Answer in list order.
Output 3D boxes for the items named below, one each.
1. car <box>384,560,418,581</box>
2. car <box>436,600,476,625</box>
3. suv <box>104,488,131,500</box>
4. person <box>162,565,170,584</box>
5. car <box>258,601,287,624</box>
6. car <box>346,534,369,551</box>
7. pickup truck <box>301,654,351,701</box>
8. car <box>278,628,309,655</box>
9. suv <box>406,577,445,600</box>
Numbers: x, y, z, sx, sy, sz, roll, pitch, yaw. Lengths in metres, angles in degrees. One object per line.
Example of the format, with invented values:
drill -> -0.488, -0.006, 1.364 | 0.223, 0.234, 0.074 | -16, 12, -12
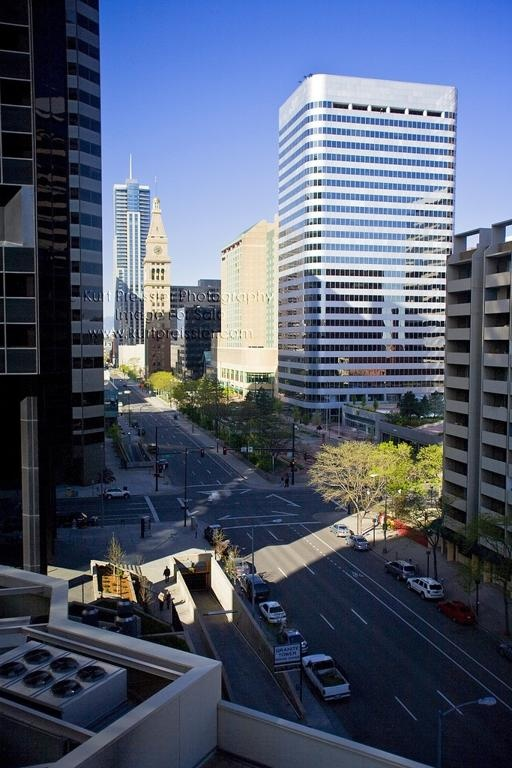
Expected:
car -> 10.259, 12.994, 51.661 | 0.907, 0.893, 1.944 | 2, 5, -18
car -> 11.905, 13.332, 43.373 | 1.059, 1.205, 2.101 | 8, 0, -25
suv -> -14.548, 11.339, 77.296 | 1.973, 1.090, 1.180 | -7, 4, -1
person -> -6.130, 12.928, 50.340 | 0.661, 1.680, 0.501 | 0, 20, -1
car -> 1.077, 13.304, 43.227 | 1.239, 1.132, 1.973 | 8, -1, -12
car -> 8.345, 12.691, 59.462 | 1.288, 1.225, 1.705 | 8, -1, -15
pickup truck -> 3.364, 13.655, 34.505 | 1.402, 1.795, 2.958 | 8, -1, -15
car -> 2.022, 12.937, 37.740 | 1.111, 0.976, 2.673 | 0, 11, -11
suv -> 10.999, 13.101, 47.769 | 1.004, 1.268, 2.503 | 8, 0, -23
